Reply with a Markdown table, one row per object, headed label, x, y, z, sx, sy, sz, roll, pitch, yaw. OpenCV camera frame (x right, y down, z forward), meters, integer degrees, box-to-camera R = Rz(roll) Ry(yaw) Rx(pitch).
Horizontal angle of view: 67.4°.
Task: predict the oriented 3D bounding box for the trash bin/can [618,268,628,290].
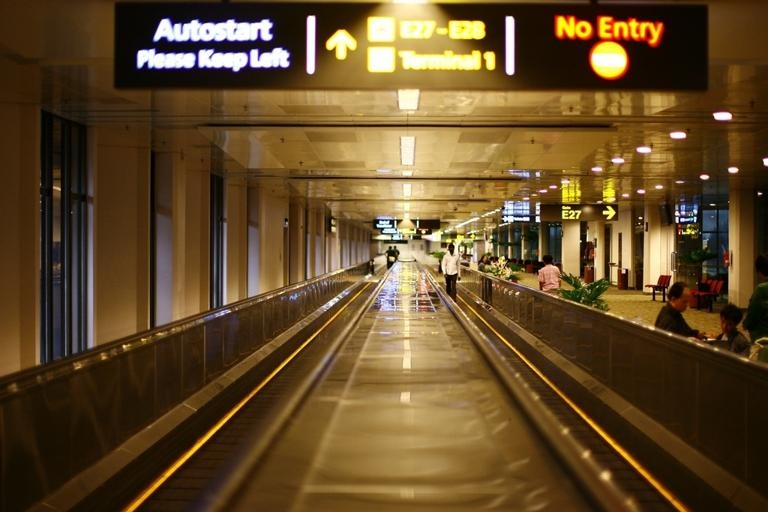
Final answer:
| label | x | y | z | sx | sy | sz | roll | pitch | yaw |
| --- | --- | --- | --- | --- | --- | --- | --- | --- | --- |
| trash bin/can | 10.545 | 1.028 | 25.365 | 0.479 | 0.818 | 0.301 | -3 | 6 | -29 |

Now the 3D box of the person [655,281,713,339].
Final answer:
| label | x | y | z | sx | sy | sz | roll | pitch | yaw |
| --- | --- | --- | --- | --- | --- | --- | --- | --- | --- |
| person | 3.469 | 0.660 | 6.745 | 0.490 | 0.619 | 0.732 | 6 | 3 | 35 |

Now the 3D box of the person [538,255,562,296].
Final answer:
| label | x | y | z | sx | sy | sz | roll | pitch | yaw |
| --- | --- | --- | --- | --- | --- | --- | --- | --- | --- |
| person | 3.586 | 0.332 | 12.464 | 0.398 | 0.835 | 1.694 | 1 | 6 | 15 |
